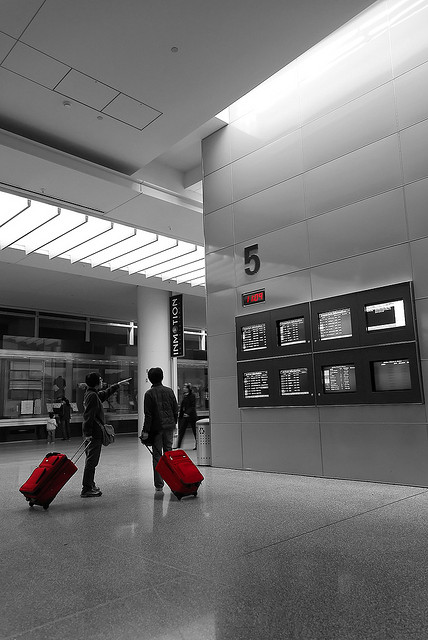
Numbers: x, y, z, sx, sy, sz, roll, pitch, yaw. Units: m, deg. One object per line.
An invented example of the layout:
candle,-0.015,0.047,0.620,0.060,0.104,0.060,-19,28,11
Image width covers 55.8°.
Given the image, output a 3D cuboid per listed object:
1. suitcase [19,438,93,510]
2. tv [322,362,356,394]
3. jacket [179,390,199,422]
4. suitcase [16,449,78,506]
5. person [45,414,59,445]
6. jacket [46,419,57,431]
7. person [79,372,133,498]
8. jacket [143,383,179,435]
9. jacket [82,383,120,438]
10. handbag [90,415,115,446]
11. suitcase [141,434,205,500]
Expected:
suitcase,-2.374,2.185,6.199,0.419,1.284,0.432,-19,-58,39
tv,2.324,1.071,7.458,0.070,0.522,0.526,8,-11,-36
jacket,-0.898,2.987,14.117,0.583,1.108,0.794,0,-14,-5
suitcase,-2.449,2.350,5.977,0.720,0.699,0.461,-8,-15,23
person,-8.044,5.401,20.137,0.426,1.442,2.024,4,-16,-22
jacket,-7.953,5.140,20.026,0.558,0.692,0.395,-1,-4,9
person,-2.088,1.978,7.318,0.531,2.138,1.548,3,-15,-17
jacket,-0.942,1.584,7.278,0.701,0.896,0.291,6,-15,-28
jacket,-1.997,1.556,6.915,0.302,0.877,0.676,-6,-15,19
handbag,-1.866,1.911,6.959,0.448,0.525,0.312,-6,-3,-20
suitcase,-0.495,2.428,6.889,1.200,0.961,1.429,11,-19,-39
